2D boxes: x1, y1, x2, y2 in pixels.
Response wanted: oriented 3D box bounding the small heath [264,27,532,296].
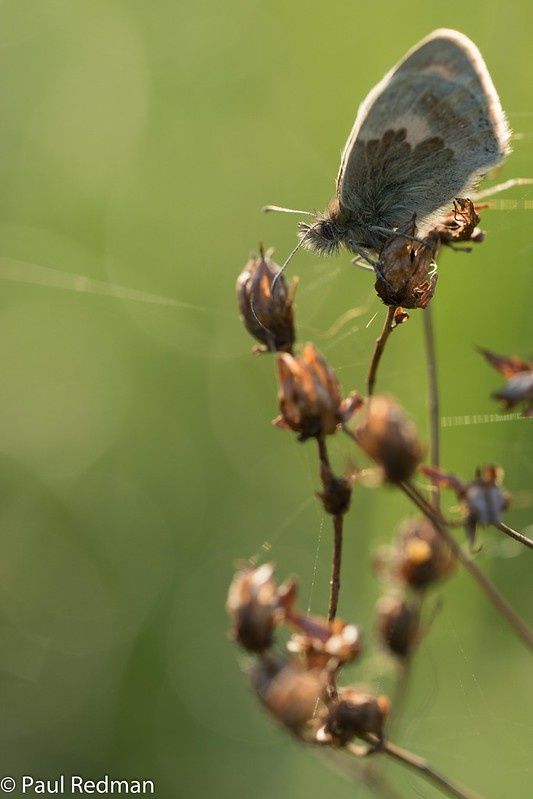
[{"bbox_3d":[0.179,-0.342,1.227,0.360,0.290,0.451,-24,11,-8],"label":"small heath"}]
